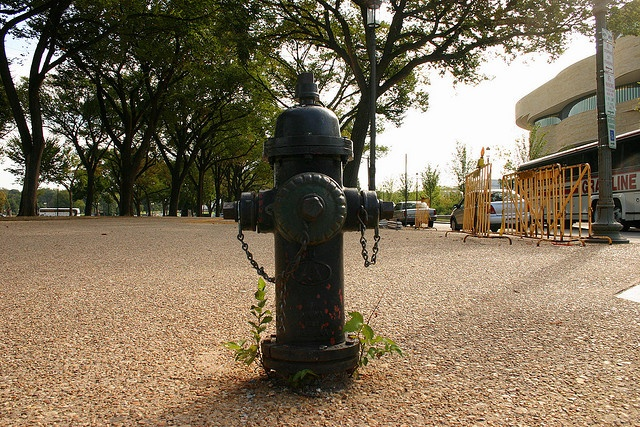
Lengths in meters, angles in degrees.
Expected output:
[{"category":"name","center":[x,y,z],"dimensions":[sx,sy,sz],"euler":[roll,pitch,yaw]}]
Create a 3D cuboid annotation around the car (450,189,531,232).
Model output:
[{"category":"car","center":[6.701,-0.091,20.956],"dimensions":[1.407,1.195,3.164],"euler":[0,2,-5]}]
